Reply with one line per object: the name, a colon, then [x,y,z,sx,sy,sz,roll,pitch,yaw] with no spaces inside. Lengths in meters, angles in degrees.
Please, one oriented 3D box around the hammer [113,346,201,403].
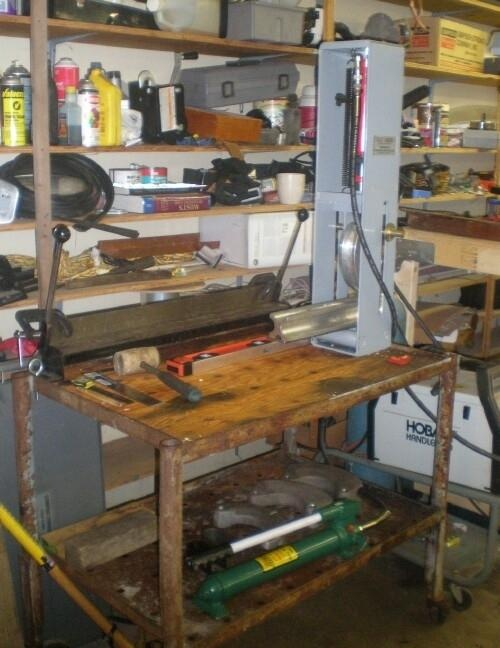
hammer: [-0.217,0.119,1.409,0.114,0.062,0.294,-8,19,-38]
